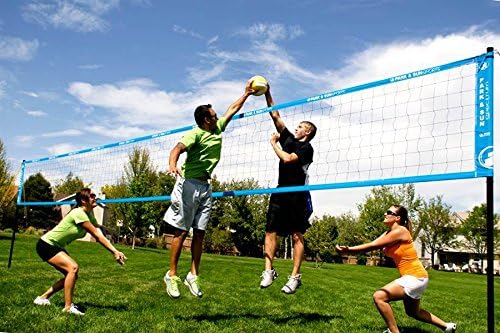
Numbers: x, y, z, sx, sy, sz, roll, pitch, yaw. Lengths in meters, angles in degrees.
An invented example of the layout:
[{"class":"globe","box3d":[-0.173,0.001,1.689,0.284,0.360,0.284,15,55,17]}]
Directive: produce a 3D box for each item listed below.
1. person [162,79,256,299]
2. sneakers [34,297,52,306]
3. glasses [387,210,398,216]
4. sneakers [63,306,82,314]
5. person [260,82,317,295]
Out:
[{"class":"person","box3d":[-0.871,0.499,6.871,1.274,3.731,0.975,4,-8,-17]},{"class":"sneakers","box3d":[-3.774,2.456,6.969,0.348,0.145,0.126,15,3,-16]},{"class":"glasses","box3d":[2.400,0.798,6.489,0.157,0.047,0.136,16,-4,-9]},{"class":"sneakers","box3d":[-3.040,2.483,6.633,0.367,0.129,0.207,3,-7,-6]},{"class":"person","box3d":[0.712,0.365,7.094,0.964,3.945,0.718,1,-7,9]}]
